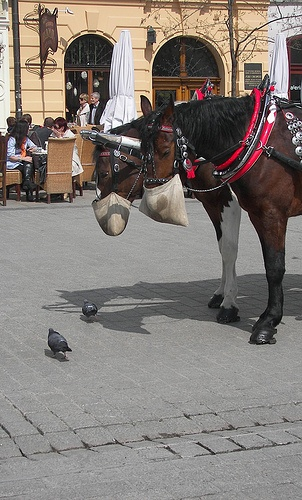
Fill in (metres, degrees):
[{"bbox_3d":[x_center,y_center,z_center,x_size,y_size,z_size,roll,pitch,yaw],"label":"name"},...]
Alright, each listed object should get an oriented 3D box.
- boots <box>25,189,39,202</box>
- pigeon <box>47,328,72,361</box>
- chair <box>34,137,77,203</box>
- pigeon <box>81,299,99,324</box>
[{"bbox_3d":[-3.072,-1.391,14.807,0.421,0.403,0.512,0,-1,-10],"label":"boots"},{"bbox_3d":[-0.663,0.702,4.201,0.169,0.194,0.369,-2,6,-9],"label":"pigeon"},{"bbox_3d":[-2.349,-1.924,13.979,0.971,1.404,0.988,-4,7,-22],"label":"chair"},{"bbox_3d":[-0.554,0.558,5.240,0.117,0.139,0.251,-4,-7,-5],"label":"pigeon"}]
